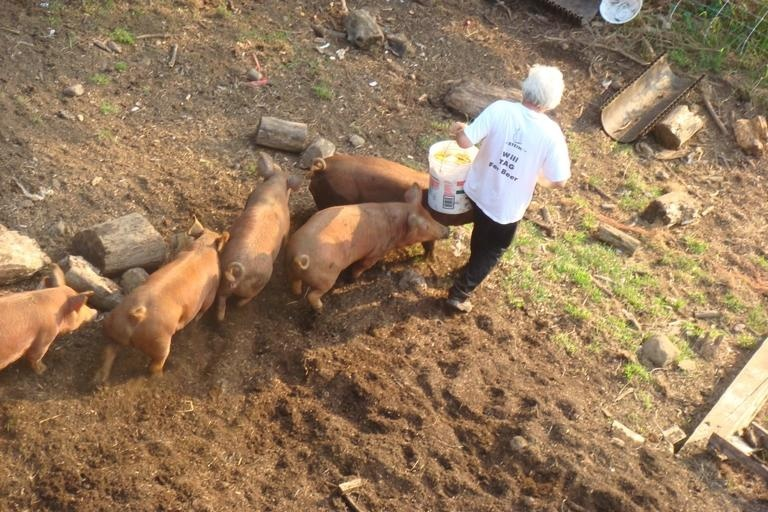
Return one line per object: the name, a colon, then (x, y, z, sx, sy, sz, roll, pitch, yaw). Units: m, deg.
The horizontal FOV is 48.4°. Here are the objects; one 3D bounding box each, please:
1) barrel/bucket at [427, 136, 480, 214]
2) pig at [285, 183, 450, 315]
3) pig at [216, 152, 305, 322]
barrel/bucket: (0.926, -1.245, 13.414, 0.946, 1.060, 1.010, 1, 38, -1)
pig: (-0.267, -0.082, 13.307, 2.316, 1.331, 0.718, -20, 51, -31)
pig: (-1.988, -0.335, 13.593, 0.863, 1.485, 3.053, 21, 48, -8)
